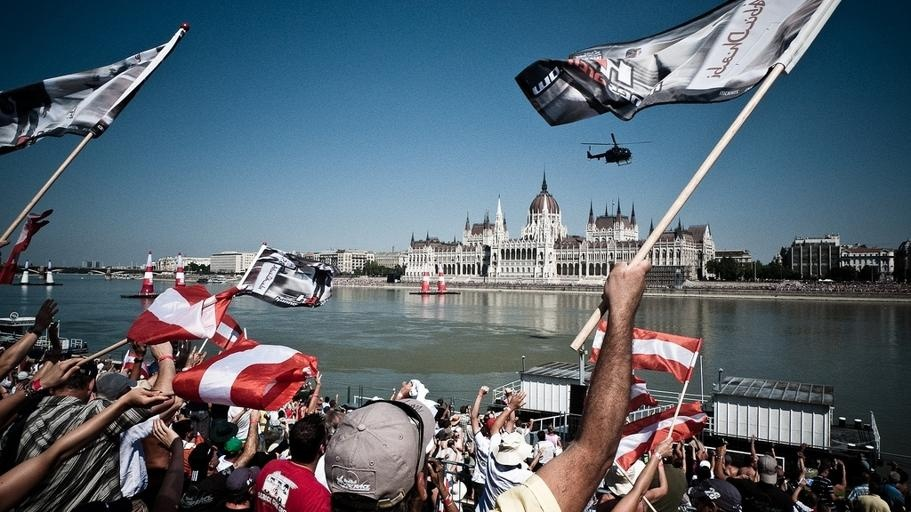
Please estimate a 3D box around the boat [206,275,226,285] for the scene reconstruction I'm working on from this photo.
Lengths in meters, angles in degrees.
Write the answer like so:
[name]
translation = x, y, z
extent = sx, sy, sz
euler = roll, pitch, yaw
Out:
[boat]
translation = -62.985, 6.411, 156.219
extent = 3.543, 1.736, 4.960
euler = 7, 6, -7
